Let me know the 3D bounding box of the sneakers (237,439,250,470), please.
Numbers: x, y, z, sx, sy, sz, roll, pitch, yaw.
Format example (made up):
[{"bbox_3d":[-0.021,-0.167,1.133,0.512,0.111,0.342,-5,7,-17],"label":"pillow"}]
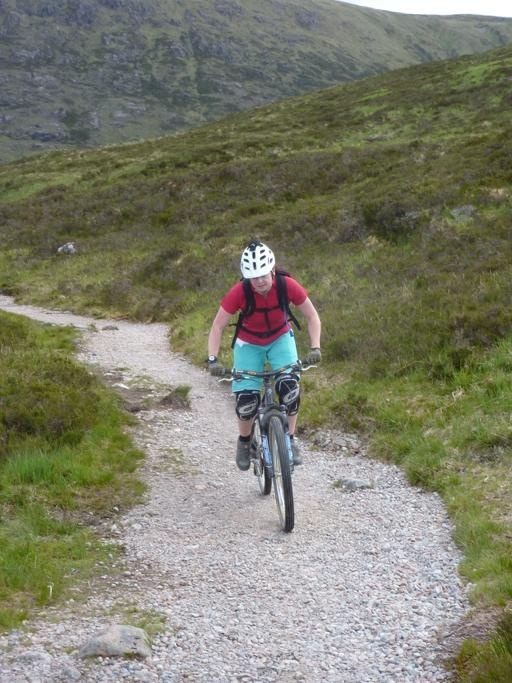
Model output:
[{"bbox_3d":[-0.147,1.321,8.465,0.140,0.378,0.164,-3,-14,-6],"label":"sneakers"}]

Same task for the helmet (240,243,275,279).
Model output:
[{"bbox_3d":[0.019,-0.812,7.274,0.291,0.258,0.385,-3,44,12],"label":"helmet"}]

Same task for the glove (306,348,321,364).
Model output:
[{"bbox_3d":[0.587,0.166,7.495,0.136,0.140,0.310,5,12,7],"label":"glove"}]

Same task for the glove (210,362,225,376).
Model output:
[{"bbox_3d":[-0.390,0.285,7.406,0.147,0.133,0.111,8,4,5],"label":"glove"}]

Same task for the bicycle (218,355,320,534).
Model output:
[{"bbox_3d":[0.115,1.030,7.782,0.832,1.875,1.416,4,13,4],"label":"bicycle"}]
